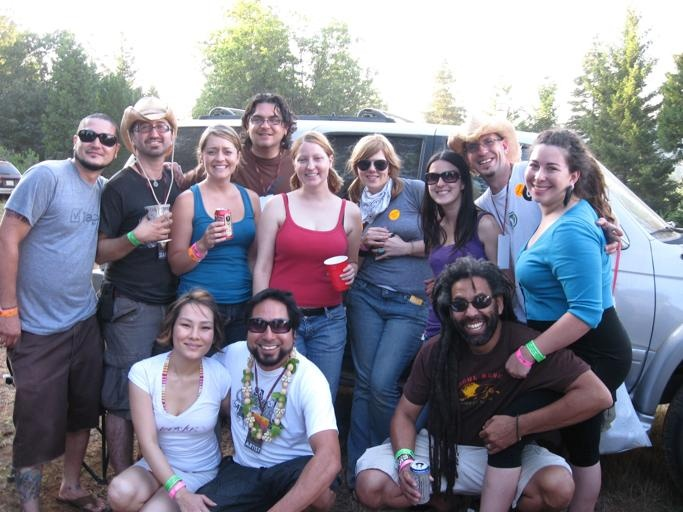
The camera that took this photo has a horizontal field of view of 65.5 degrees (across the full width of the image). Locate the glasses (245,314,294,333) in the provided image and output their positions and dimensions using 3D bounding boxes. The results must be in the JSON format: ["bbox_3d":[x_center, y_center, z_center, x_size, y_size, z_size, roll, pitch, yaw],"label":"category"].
[{"bbox_3d":[-0.452,0.428,3.346,0.291,0.103,0.088,3,11,-6],"label":"glasses"}]

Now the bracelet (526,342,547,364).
[{"bbox_3d":[1.152,0.562,3.137,0.060,0.121,0.104,-41,1,7],"label":"bracelet"}]

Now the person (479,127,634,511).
[{"bbox_3d":[1.400,0.390,3.283,0.834,2.373,0.670,5,11,4],"label":"person"}]

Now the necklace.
[{"bbox_3d":[-0.491,0.892,3.394,0.338,0.588,0.139,1,-9,18],"label":"necklace"}]

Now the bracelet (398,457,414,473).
[{"bbox_3d":[0.404,1.297,3.298,0.083,0.106,0.092,4,45,3],"label":"bracelet"}]

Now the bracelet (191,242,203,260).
[{"bbox_3d":[-0.999,-0.047,3.678,0.094,0.124,0.046,5,11,3],"label":"bracelet"}]

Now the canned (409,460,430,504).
[{"bbox_3d":[0.488,1.390,3.249,0.136,0.274,0.122,2,11,-9],"label":"canned"}]

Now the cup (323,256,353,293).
[{"bbox_3d":[-0.046,0.089,3.788,0.221,0.253,0.219,-16,7,2],"label":"cup"}]

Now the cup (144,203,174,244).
[{"bbox_3d":[-1.264,-0.257,3.638,0.233,0.310,0.241,1,5,0],"label":"cup"}]

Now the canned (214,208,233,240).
[{"bbox_3d":[-0.808,-0.244,3.626,0.107,0.204,0.118,-1,12,-22],"label":"canned"}]

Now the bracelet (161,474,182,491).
[{"bbox_3d":[-1.031,1.385,3.217,0.091,0.065,0.091,-37,-8,-32],"label":"bracelet"}]

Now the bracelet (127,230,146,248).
[{"bbox_3d":[-1.405,-0.143,3.619,0.051,0.096,0.105,-37,22,-24],"label":"bracelet"}]

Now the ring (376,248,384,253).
[{"bbox_3d":[0.295,-0.061,3.957,0.044,0.035,0.033,1,-26,-2],"label":"ring"}]

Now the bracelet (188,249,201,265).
[{"bbox_3d":[-1.013,-0.028,3.680,0.071,0.111,0.100,-28,29,1],"label":"bracelet"}]
